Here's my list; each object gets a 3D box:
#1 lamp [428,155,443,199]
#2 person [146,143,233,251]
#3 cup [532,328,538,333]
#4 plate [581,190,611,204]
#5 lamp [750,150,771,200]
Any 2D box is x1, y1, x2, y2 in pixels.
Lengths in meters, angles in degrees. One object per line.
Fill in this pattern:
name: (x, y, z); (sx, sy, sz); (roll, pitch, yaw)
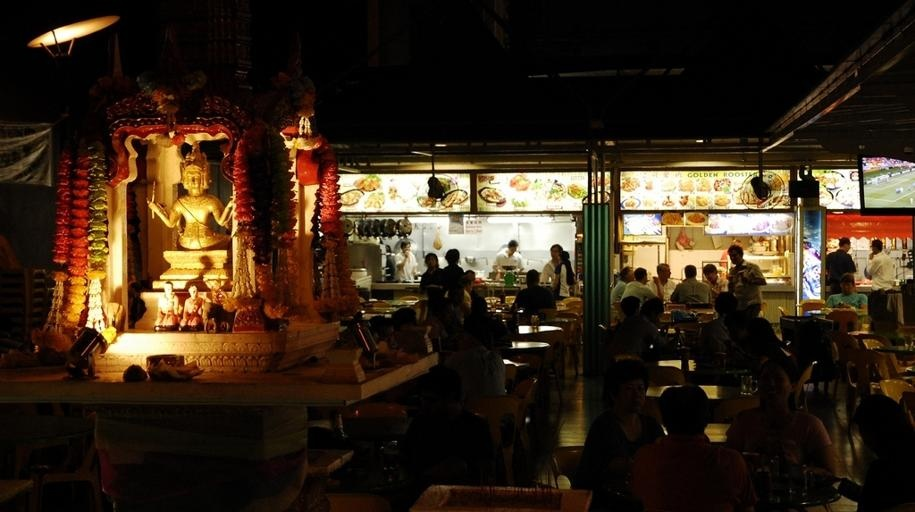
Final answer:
lamp: (-0.437, -1.515, 14.879); (0.370, 0.805, 1.037); (1, -2, 2)
person: (-2.477, -0.543, 7.218); (0.757, 0.980, 0.301); (1, -2, 17)
cup: (1.267, 1.206, 12.533); (0.070, 0.049, 0.061); (-4, 3, -1)
plate: (2.485, -1.066, 13.939); (0.488, 0.100, 0.471); (-2, 1, 10)
lamp: (5.600, -1.543, 14.316); (0.369, 0.972, 2.120); (1, -2, 22)
